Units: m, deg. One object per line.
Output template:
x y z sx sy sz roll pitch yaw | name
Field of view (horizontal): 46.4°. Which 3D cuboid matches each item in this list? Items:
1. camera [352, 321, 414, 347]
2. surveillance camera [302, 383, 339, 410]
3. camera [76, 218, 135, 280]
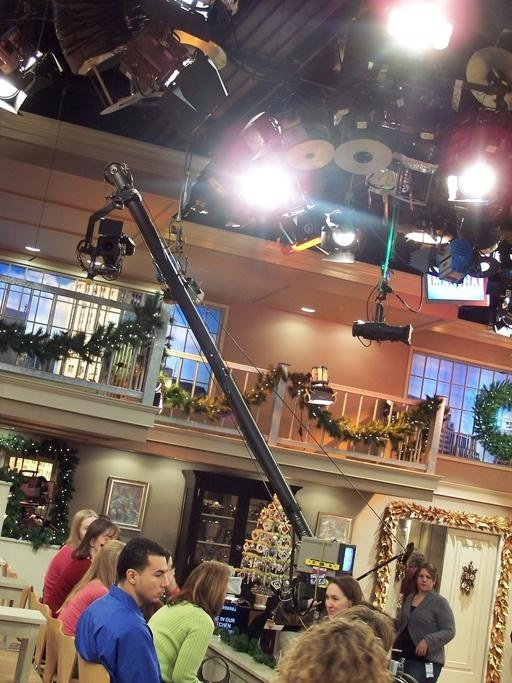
1.234 -0.098 5.951 0.677 0.283 0.285 8 -2 18 | camera
1.040 0.927 9.515 0.473 0.299 0.402 -2 9 -24 | surveillance camera
-1.520 -0.937 6.242 0.596 0.551 0.517 -2 -3 24 | camera
